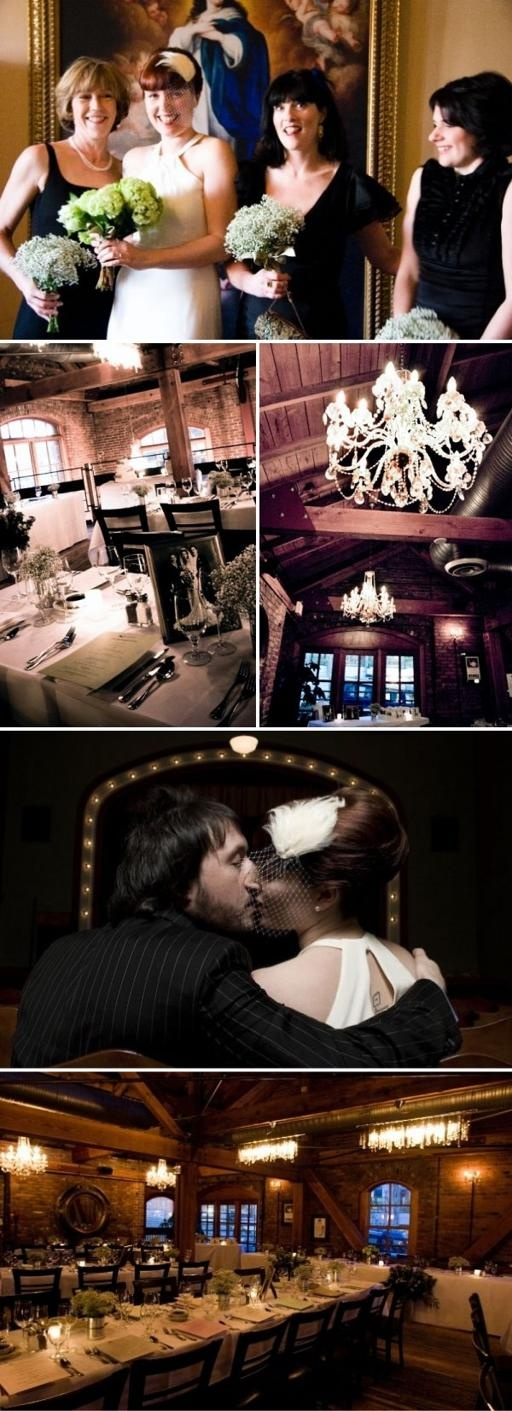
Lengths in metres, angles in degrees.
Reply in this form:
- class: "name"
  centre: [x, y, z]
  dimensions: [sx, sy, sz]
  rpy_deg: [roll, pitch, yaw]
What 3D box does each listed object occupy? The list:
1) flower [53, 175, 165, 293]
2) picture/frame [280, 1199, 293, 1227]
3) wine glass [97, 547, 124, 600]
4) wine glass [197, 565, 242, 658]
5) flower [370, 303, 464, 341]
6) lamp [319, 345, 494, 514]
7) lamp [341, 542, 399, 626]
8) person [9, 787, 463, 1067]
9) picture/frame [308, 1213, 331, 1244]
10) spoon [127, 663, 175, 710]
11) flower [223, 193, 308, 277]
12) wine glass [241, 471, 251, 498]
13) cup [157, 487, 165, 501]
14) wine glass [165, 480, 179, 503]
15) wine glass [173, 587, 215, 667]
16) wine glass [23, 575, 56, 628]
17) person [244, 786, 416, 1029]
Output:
- class: "flower"
  centre: [-0.658, -2.218, 3.559]
  dimensions: [0.448, 0.253, 0.319]
  rpy_deg: [7, 36, 17]
- class: "picture/frame"
  centre: [0.299, 4.966, 7.704]
  dimensions: [0.024, 0.172, 0.264]
  rpy_deg: [-19, 63, 41]
- class: "wine glass"
  centre: [-0.685, -0.619, 3.753]
  dimensions: [0.094, 0.156, 0.217]
  rpy_deg: [2, 33, 2]
- class: "wine glass"
  centre: [-0.184, -0.455, 3.710]
  dimensions: [0.106, 0.397, 0.143]
  rpy_deg: [-6, 18, 6]
- class: "flower"
  centre: [0.801, -1.881, 3.920]
  dimensions: [0.370, 0.095, 0.272]
  rpy_deg: [4, 39, 13]
- class: "lamp"
  centre: [0.725, -1.265, 3.792]
  dimensions: [0.774, 0.530, 0.313]
  rpy_deg: [-2, 30, 5]
- class: "lamp"
  centre: [0.544, -0.569, 3.755]
  dimensions: [0.192, 0.242, 0.387]
  rpy_deg: [0, 78, 16]
- class: "person"
  centre: [-0.123, 0.981, 4.039]
  dimensions: [1.228, 1.188, 1.501]
  rpy_deg: [-1, 78, -1]
- class: "picture/frame"
  centre: [0.617, 5.136, 7.735]
  dimensions: [0.025, 0.189, 0.328]
  rpy_deg: [-21, 59, 45]
- class: "spoon"
  centre: [-0.481, -0.087, 3.728]
  dimensions: [0.229, 0.055, 0.030]
  rpy_deg: [-58, 16, -11]
- class: "flower"
  centre: [0.037, -2.158, 3.660]
  dimensions: [0.330, 0.283, 0.247]
  rpy_deg: [-16, 34, -14]
- class: "wine glass"
  centre: [-0.043, -1.036, 3.729]
  dimensions: [0.047, 0.092, 0.045]
  rpy_deg: [-1, 29, 6]
- class: "cup"
  centre: [-0.444, -1.007, 3.742]
  dimensions: [0.040, 0.067, 0.041]
  rpy_deg: [-3, 30, 2]
- class: "wine glass"
  centre: [-0.390, -1.015, 3.738]
  dimensions: [0.048, 0.063, 0.159]
  rpy_deg: [-1, 54, 1]
- class: "wine glass"
  centre: [-0.291, -0.353, 3.727]
  dimensions: [0.156, 0.259, 0.181]
  rpy_deg: [-9, 31, -7]
- class: "wine glass"
  centre: [-1.008, -0.488, 3.766]
  dimensions: [0.142, 0.349, 0.163]
  rpy_deg: [0, -3, -37]
- class: "person"
  centre: [0.299, 0.951, 3.727]
  dimensions: [0.513, 0.917, 0.991]
  rpy_deg: [7, 74, 24]
